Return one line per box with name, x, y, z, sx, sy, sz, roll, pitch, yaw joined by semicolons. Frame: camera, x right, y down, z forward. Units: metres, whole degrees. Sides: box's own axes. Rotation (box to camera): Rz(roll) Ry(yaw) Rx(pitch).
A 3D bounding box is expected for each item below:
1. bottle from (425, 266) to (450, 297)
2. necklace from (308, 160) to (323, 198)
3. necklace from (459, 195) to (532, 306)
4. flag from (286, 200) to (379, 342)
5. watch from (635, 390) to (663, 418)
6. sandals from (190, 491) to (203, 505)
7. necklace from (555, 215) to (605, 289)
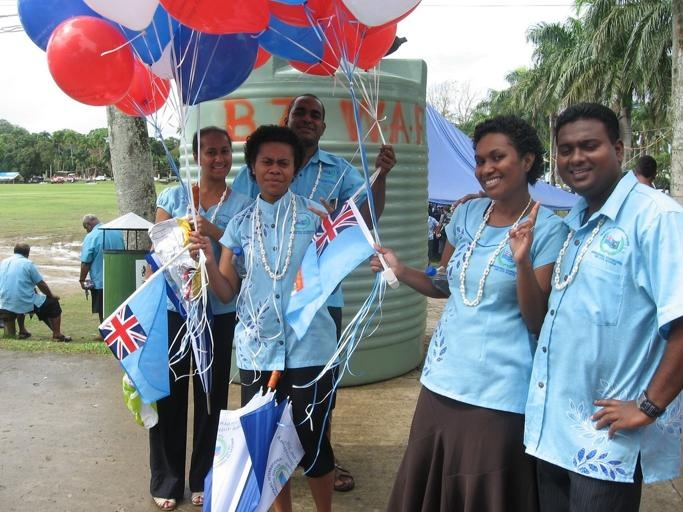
bottle;0.543;0.137;3.700;0.101;0.175;0.050;-16;-8;16
necklace;-0.168;-0.478;4.221;0.135;0.209;0.034;4;-11;43
necklace;0.772;-0.007;3.320;0.113;0.393;0.382;30;2;11
flag;-0.087;0.076;3.607;0.422;0.724;0.405;-7;12;-33
watch;1.328;0.641;2.883;0.085;0.059;0.086;28;0;-21
sandals;-0.932;1.563;4.291;0.048;0.051;0.144;2;-17;-6
necklace;1.135;0.014;3.152;0.050;0.335;0.192;25;0;-26
